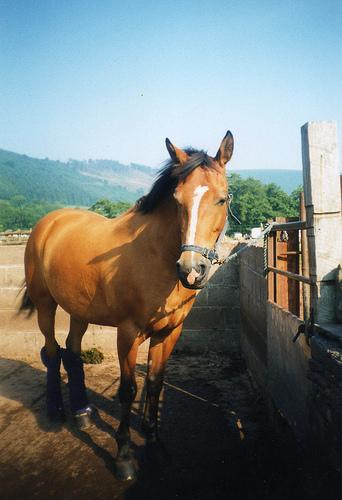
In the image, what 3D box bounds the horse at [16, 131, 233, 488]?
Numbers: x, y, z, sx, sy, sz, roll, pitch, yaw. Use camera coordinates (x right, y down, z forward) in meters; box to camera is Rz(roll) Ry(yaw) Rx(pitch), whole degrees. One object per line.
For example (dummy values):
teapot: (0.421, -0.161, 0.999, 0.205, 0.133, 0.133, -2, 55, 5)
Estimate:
horse: (-0.368, 0.399, 3.189, 0.646, 2.410, 2.476, -5, 7, -38)
